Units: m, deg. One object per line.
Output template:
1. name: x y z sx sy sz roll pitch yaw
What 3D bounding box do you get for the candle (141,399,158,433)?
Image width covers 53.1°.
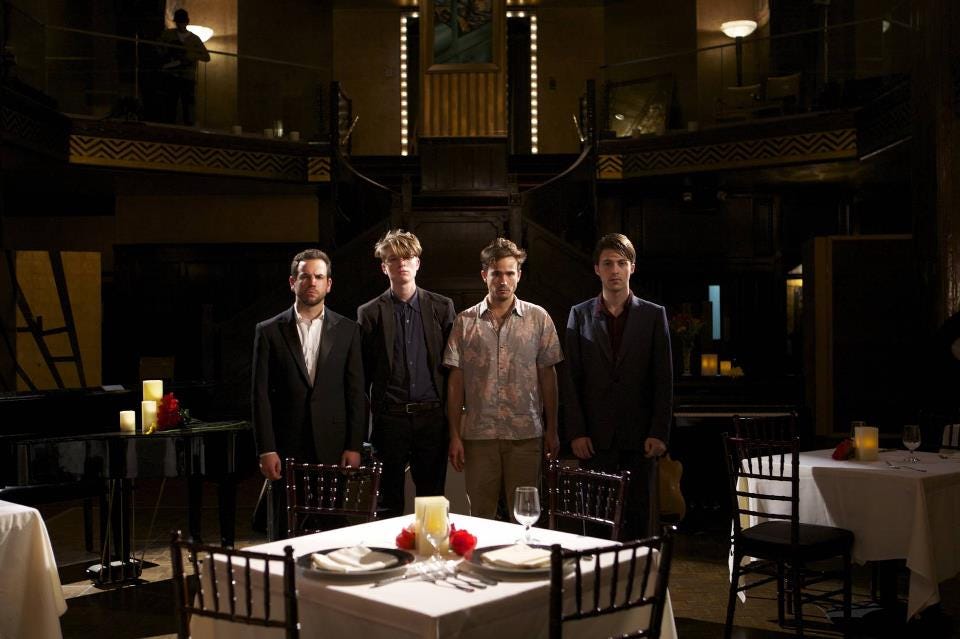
1. candle: -2.740 0.803 7.980 0.124 0.263 0.152 -1 -2 -20

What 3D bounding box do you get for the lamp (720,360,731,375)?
1. lamp: 3.134 0.609 12.220 0.166 0.197 0.166 3 -6 -33

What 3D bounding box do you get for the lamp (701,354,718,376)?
1. lamp: 2.882 0.566 12.089 0.247 0.304 0.260 -1 -2 14

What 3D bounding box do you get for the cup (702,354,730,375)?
1. cup: 2.950 0.563 12.128 0.402 0.292 0.227 -1 2 -6

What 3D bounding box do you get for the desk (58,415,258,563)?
1. desk: -2.735 1.194 8.318 1.683 1.220 1.195 1 -4 -33

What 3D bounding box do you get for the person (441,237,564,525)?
1. person: 0.178 0.449 7.224 0.879 2.080 0.472 -2 -1 4

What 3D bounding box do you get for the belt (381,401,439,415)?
1. belt: -0.517 0.660 7.193 0.464 0.127 0.101 -1 -2 -11

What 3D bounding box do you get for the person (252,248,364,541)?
1. person: -1.316 0.869 7.458 0.816 2.813 0.672 -1 19 -11

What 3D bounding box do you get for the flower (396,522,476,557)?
1. flower: -0.255 1.309 5.678 0.398 0.203 0.206 2 -5 2

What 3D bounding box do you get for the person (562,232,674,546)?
1. person: 1.092 0.732 7.522 0.810 2.853 0.595 4 22 21

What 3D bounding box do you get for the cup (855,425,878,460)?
1. cup: 2.982 0.949 7.425 0.209 0.379 0.241 -2 -2 21

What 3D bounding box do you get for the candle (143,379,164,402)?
1. candle: -2.793 0.601 8.232 0.181 0.221 0.183 1 0 -22

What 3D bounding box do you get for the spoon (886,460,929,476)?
1. spoon: 3.215 1.110 7.232 0.096 0.064 0.401 -2 5 -5

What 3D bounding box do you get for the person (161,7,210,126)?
1. person: -3.937 -3.294 12.590 0.602 1.628 0.653 -3 -2 30
